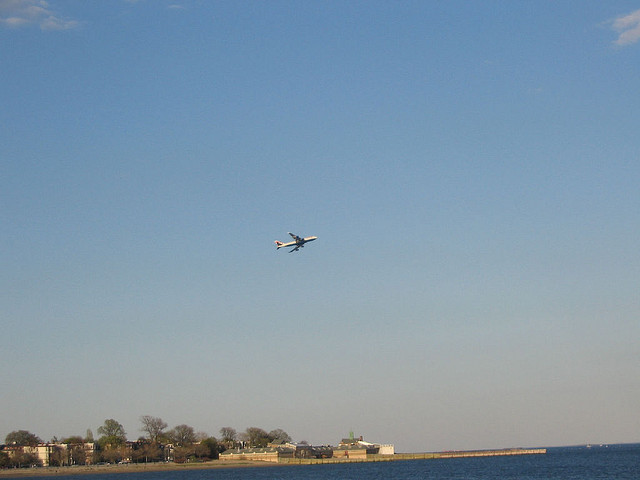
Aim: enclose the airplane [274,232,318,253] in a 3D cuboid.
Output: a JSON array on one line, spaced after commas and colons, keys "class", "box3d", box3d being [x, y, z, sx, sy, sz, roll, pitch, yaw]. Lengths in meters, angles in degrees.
[{"class": "airplane", "box3d": [-8.392, 2.871, 432.353, 10.131, 3.392, 9.142, -10, -48, -23]}]
